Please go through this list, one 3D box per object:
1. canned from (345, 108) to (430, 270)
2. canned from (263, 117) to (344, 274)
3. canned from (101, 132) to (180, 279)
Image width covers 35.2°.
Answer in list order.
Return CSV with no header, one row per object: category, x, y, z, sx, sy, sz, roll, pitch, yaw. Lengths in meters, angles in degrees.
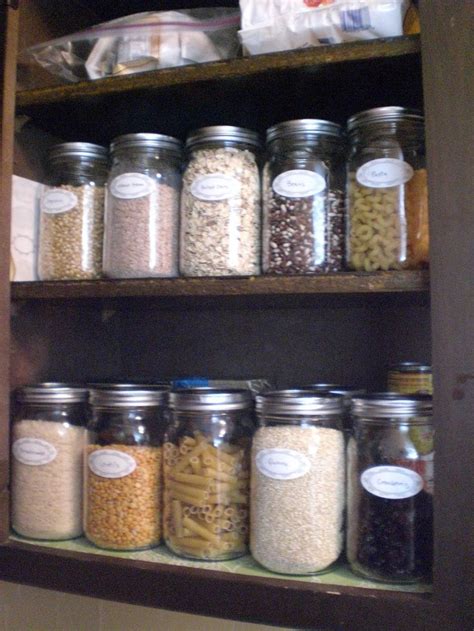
canned,0.187,-0.191,1.135,0.165,0.222,0.154,-7,10,-23
canned,0.099,-0.175,1.107,0.124,0.240,0.098,0,-3,5
canned,-0.172,-0.181,1.246,0.160,0.209,0.150,-4,10,-38
